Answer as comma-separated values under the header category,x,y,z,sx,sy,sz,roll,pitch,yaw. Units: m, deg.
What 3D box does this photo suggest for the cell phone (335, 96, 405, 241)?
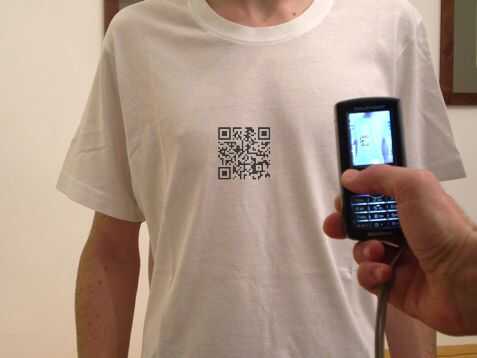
category,x,y,z,sx,sy,sz,roll,pitch,yaw
cell phone,0.261,-0.014,1.044,0.125,0.285,0.110,0,-1,21
